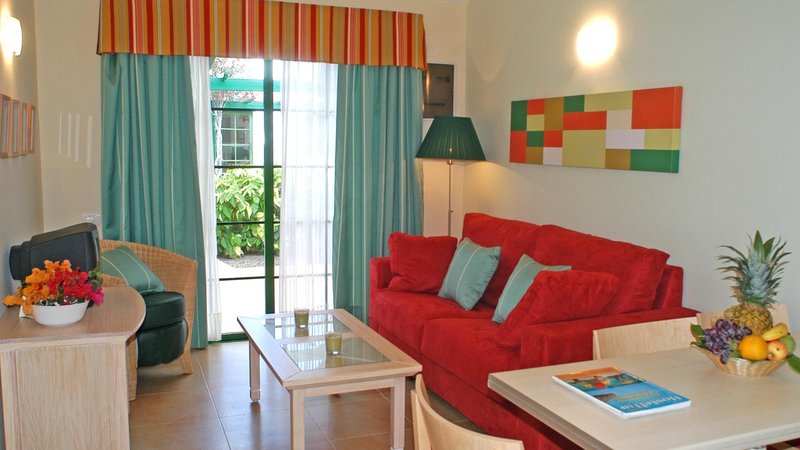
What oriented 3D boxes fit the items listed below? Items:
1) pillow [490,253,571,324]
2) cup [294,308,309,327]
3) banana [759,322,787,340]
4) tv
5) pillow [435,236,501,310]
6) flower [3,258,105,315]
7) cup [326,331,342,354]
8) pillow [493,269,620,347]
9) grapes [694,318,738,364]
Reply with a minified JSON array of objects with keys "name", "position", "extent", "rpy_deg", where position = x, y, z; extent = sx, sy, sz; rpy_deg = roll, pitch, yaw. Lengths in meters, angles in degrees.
[{"name":"pillow","position":[1.075,0.572,4.840],"extent":[0.187,0.567,0.608],"rpy_deg":[25,-2,-1]},{"name":"cup","position":[-0.863,0.798,4.773],"extent":[0.144,0.143,0.136],"rpy_deg":[1,2,0]},{"name":"banana","position":[2.228,0.636,3.280],"extent":[0.160,0.051,0.073],"rpy_deg":[-18,53,0]},{"name":"tv","position":[-2.757,0.201,4.418],"extent":[0.587,0.409,0.471],"rpy_deg":[0,5,-22]},{"name":"pillow","position":[0.655,0.480,5.374],"extent":[0.196,0.605,0.620],"rpy_deg":[24,12,-26]},{"name":"flower","position":[-2.503,0.391,3.981],"extent":[0.516,0.359,0.495],"rpy_deg":[-1,7,-22]},{"name":"cup","position":[-0.535,0.905,4.316],"extent":[0.156,0.161,0.150],"rpy_deg":[1,7,0]},{"name":"pillow","position":[1.188,0.640,4.240],"extent":[0.285,0.663,0.703],"rpy_deg":[26,-22,-35]},{"name":"grapes","position":[1.924,0.683,3.362],"extent":[0.265,0.228,0.128],"rpy_deg":[9,51,41]}]
